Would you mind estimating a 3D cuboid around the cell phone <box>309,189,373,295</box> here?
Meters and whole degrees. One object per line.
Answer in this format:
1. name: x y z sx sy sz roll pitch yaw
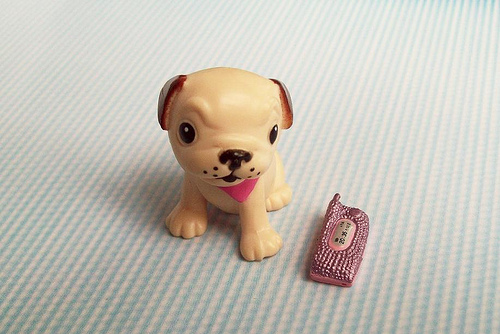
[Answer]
1. cell phone: 0.271 0.220 1.489 0.144 0.090 0.271 7 47 14
